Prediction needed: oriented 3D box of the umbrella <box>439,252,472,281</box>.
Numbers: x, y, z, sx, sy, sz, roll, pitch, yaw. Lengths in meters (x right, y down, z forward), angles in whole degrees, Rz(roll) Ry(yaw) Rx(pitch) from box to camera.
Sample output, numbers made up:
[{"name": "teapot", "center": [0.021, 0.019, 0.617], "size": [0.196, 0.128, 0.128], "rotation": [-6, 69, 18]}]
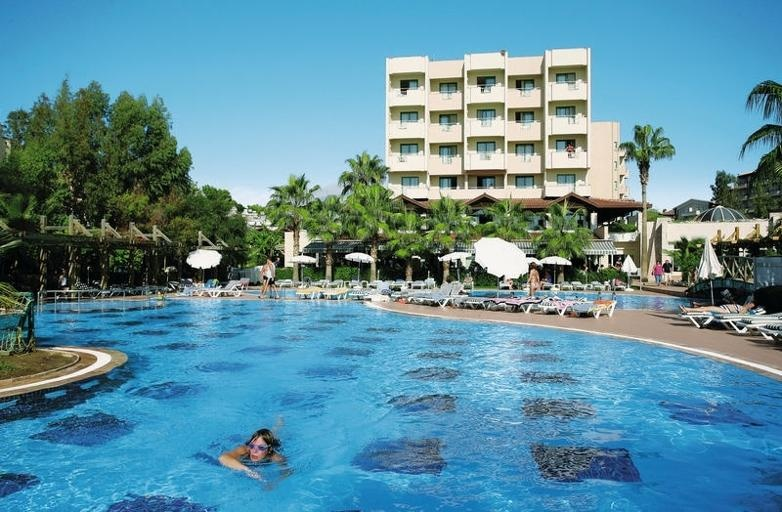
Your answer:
[{"name": "umbrella", "center": [5.022, 0.430, 39.352], "size": [2.378, 2.355, 2.358], "rotation": [-4, 8, 2]}]

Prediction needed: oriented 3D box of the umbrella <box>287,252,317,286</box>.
[{"name": "umbrella", "center": [-6.722, 0.967, 41.481], "size": [2.559, 2.397, 2.463], "rotation": [0, -2, -29]}]

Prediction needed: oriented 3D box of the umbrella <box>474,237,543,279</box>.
[{"name": "umbrella", "center": [5.061, 0.098, 24.775], "size": [2.092, 0.775, 2.169], "rotation": [28, 46, 17]}]

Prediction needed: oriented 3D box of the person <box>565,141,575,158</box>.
[{"name": "person", "center": [17.393, -10.319, 51.025], "size": [0.770, 1.620, 1.450], "rotation": [1, 8, 17]}]
